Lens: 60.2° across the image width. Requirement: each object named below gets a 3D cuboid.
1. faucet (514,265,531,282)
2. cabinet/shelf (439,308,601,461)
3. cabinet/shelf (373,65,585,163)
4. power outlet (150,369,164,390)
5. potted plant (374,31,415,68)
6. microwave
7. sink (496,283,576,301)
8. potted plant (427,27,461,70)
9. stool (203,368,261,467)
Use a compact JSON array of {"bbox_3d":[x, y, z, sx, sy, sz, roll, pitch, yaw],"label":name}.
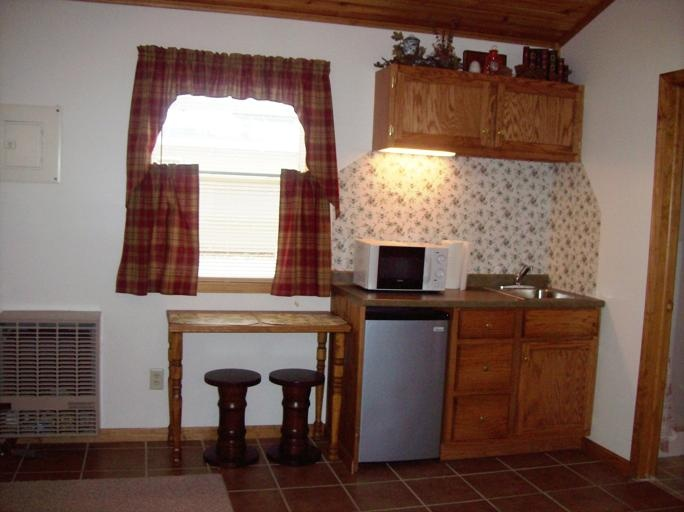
[{"bbox_3d":[1.402,0.142,4.601,0.047,0.031,0.134,-7,-28,-23],"label":"faucet"},{"bbox_3d":[1.183,0.865,4.065,1.085,0.984,0.574,-1,4,-12],"label":"cabinet/shelf"},{"bbox_3d":[1.040,-1.000,4.195,1.487,0.594,0.165,0,15,-14],"label":"cabinet/shelf"},{"bbox_3d":[-1.306,0.879,4.165,0.095,0.145,0.036,0,15,-14],"label":"power outlet"},{"bbox_3d":[0.406,-1.479,4.213,0.249,0.272,0.303,-3,15,-24],"label":"potted plant"},{"bbox_3d":[0.435,0.089,4.067,0.527,0.313,0.380,0,5,-16],"label":"microwave"},{"bbox_3d":[1.480,0.287,4.550,0.535,0.111,0.367,6,14,12],"label":"sink"},{"bbox_3d":[0.755,-1.491,4.273,0.233,0.289,0.387,5,14,9],"label":"potted plant"},{"bbox_3d":[-0.721,1.071,3.857,0.350,0.556,0.285,1,14,-9],"label":"stool"}]
